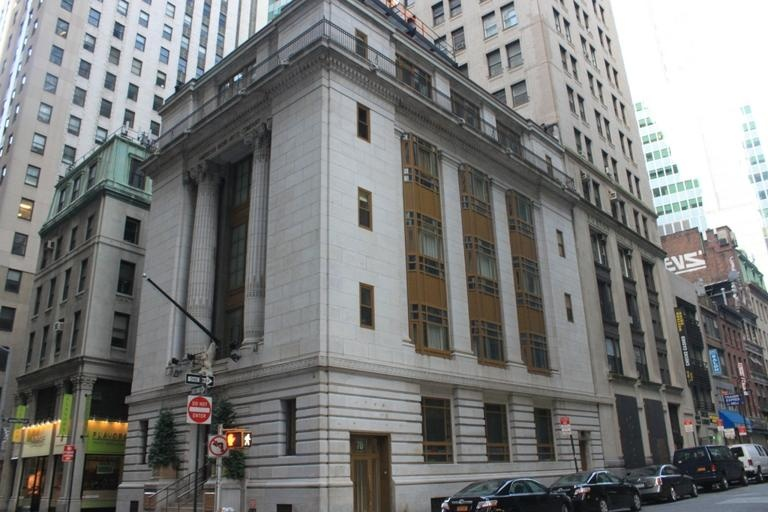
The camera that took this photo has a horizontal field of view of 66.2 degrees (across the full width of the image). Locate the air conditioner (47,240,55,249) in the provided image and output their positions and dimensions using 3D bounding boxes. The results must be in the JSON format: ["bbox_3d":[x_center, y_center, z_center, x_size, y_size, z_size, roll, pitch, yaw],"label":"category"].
[{"bbox_3d":[-33.792,-1.108,59.888,0.715,0.690,0.507,-11,-16,25],"label":"air conditioner"}]

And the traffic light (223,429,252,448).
[{"bbox_3d":[-7.776,9.600,31.333,1.292,0.983,0.997,1,-26,-10],"label":"traffic light"}]

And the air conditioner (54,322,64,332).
[{"bbox_3d":[-29.867,6.580,54.069,0.846,0.940,0.905,8,-1,-18],"label":"air conditioner"}]

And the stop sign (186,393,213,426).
[{"bbox_3d":[-10.110,8.296,32.351,1.260,1.604,1.337,6,-28,-20],"label":"stop sign"}]
